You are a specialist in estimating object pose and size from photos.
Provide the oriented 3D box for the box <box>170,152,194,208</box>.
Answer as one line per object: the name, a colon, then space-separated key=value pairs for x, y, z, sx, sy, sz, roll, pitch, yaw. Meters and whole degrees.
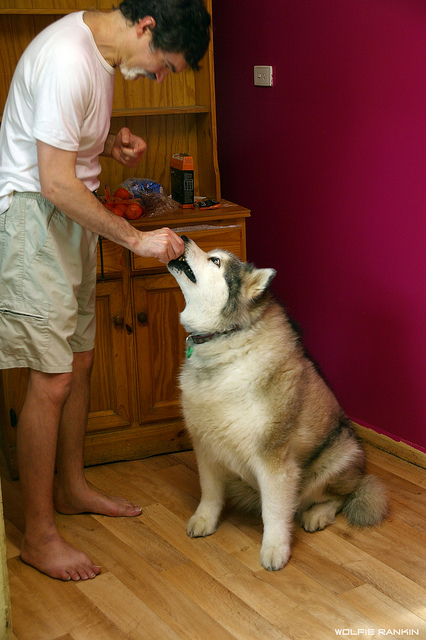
box: x=-0.150 y=-0.670 z=2.607 sx=0.081 sy=0.248 sz=0.225 roll=-5 pitch=26 yaw=-13

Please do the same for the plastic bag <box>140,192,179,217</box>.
plastic bag: x=-0.260 y=-0.539 z=2.514 sx=0.135 sy=0.045 sz=0.148 roll=-5 pitch=34 yaw=-15

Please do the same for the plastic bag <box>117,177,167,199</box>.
plastic bag: x=-0.359 y=-0.642 z=2.624 sx=0.155 sy=0.070 sz=0.228 roll=4 pitch=11 yaw=2

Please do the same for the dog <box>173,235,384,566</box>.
dog: x=0.222 y=0.276 z=2.055 sx=0.792 sy=1.114 sz=0.617 roll=-6 pitch=8 yaw=-28
